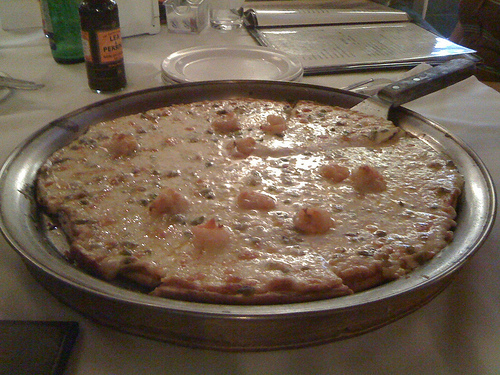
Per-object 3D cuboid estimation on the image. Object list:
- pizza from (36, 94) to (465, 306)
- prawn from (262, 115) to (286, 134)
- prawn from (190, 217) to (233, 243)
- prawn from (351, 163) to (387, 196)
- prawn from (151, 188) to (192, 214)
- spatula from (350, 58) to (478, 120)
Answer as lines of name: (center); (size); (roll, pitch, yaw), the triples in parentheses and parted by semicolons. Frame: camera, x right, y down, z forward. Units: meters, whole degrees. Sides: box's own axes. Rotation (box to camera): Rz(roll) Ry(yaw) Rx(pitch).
pizza: (0.007, -0.020, 1.082); (0.951, 0.099, 0.701); (-3, 35, -4)
prawn: (0.068, -0.167, 1.250); (0.065, 0.020, 0.044); (-17, 53, -34)
prawn: (-0.073, 0.083, 0.924); (0.082, 0.031, 0.065); (-6, 38, -8)
prawn: (0.260, -0.013, 1.058); (0.087, 0.032, 0.072); (-15, 51, -9)
prawn: (-0.162, 0.027, 0.989); (0.074, 0.021, 0.060); (-8, 32, -30)
spatula: (0.472, -0.303, 1.302); (0.065, 0.162, 0.512); (50, 26, 19)
